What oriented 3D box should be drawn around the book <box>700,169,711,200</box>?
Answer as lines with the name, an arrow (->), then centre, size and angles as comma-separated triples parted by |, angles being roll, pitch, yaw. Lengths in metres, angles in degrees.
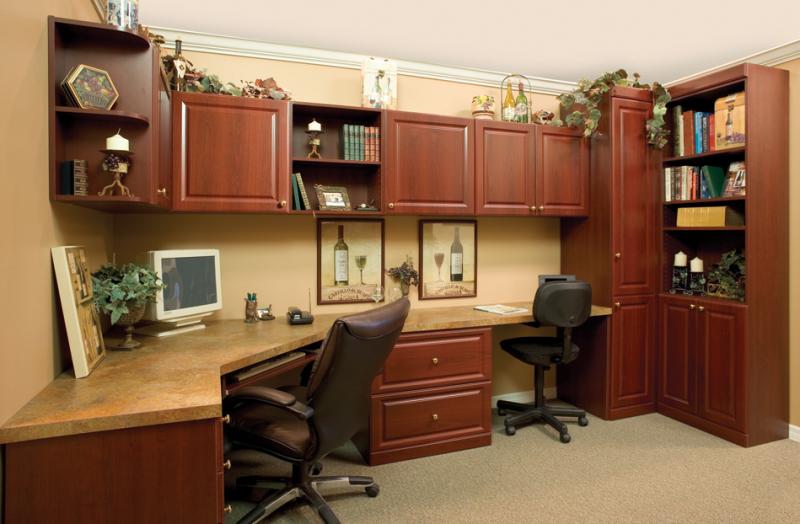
book -> 2.413, -0.624, 4.883 | 0.046, 0.192, 0.197 | -15, -7, 42

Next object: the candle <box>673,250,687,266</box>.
candle -> 2.323, -0.026, 5.035 | 0.115, 0.123, 0.115 | 4, 4, 31

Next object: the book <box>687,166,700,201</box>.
book -> 2.378, -0.643, 4.915 | 0.052, 0.208, 0.207 | 0, 2, 19

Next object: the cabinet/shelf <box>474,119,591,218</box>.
cabinet/shelf -> 1.041, -0.745, 5.102 | 1.125, 0.742, 0.382 | -1, 2, -21

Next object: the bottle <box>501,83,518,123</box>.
bottle -> 0.904, -1.352, 5.108 | 0.115, 0.389, 0.423 | -1, 4, 10

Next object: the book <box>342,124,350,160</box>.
book -> -0.408, -0.900, 4.563 | 0.049, 0.198, 0.199 | 2, 7, -6

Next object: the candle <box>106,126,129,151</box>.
candle -> -1.683, -0.731, 3.610 | 0.134, 0.148, 0.121 | -4, 4, -23

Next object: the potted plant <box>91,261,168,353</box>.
potted plant -> -1.669, 0.300, 4.013 | 0.528, 0.498, 0.510 | 2, -7, -11

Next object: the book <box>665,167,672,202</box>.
book -> 2.227, -0.643, 5.059 | 0.048, 0.204, 0.203 | 0, 4, 23

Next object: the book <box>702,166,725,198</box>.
book -> 2.498, -0.640, 4.859 | 0.059, 0.239, 0.247 | -5, -7, 42

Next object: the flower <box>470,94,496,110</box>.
flower -> 0.657, -1.298, 4.942 | 0.174, 0.101, 0.156 | 0, 1, 10

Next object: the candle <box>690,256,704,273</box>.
candle -> 2.438, 0.023, 4.999 | 0.121, 0.131, 0.121 | 1, 3, 28

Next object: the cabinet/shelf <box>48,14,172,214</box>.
cabinet/shelf -> -1.770, -0.880, 3.722 | 0.641, 1.073, 0.484 | -3, 4, -17

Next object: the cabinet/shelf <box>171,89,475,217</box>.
cabinet/shelf -> -0.305, -0.725, 4.649 | 2.590, 0.804, 0.437 | 1, -3, -11

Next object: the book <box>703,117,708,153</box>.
book -> 2.435, -1.034, 4.849 | 0.051, 0.203, 0.203 | 0, 3, 24

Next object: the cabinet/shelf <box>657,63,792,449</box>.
cabinet/shelf -> 2.602, -0.068, 4.890 | 0.640, 2.880, 0.854 | -5, 5, -35

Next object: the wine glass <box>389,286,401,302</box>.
wine glass -> -0.048, 0.258, 4.915 | 0.112, 0.132, 0.109 | -1, 2, -14

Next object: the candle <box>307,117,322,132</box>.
candle -> -0.648, -1.029, 4.563 | 0.114, 0.069, 0.110 | -3, 8, -19

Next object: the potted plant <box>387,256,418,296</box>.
potted plant -> 0.026, 0.114, 4.982 | 0.257, 0.317, 0.121 | -2, 4, -6

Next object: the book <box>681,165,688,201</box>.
book -> 2.323, -0.648, 4.971 | 0.050, 0.203, 0.208 | 3, 4, 21

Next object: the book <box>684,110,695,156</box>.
book -> 2.344, -1.050, 4.939 | 0.068, 0.281, 0.289 | 1, 4, 34
